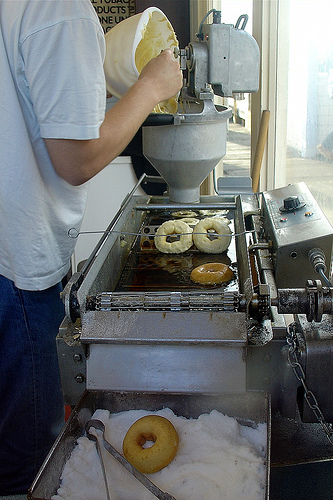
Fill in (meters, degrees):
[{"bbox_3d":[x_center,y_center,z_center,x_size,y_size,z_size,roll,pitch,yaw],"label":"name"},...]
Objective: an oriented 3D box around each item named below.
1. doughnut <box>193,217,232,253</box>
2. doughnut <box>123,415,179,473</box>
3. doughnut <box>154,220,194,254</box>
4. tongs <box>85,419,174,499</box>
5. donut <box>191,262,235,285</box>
[{"bbox_3d":[0.119,-0.049,1.044,0.091,0.057,0.167,1,27,8],"label":"doughnut"},{"bbox_3d":[-0.023,0.264,0.548,0.074,0.029,0.080,3,30,11],"label":"doughnut"},{"bbox_3d":[0.017,-0.030,1.023,0.093,0.058,0.093,-22,32,-34],"label":"doughnut"},{"bbox_3d":[-0.050,0.254,0.490,0.043,0.030,0.202,-56,22,-4],"label":"tongs"},{"bbox_3d":[0.100,0.050,0.864,0.093,0.021,0.084,1,27,8],"label":"donut"}]
